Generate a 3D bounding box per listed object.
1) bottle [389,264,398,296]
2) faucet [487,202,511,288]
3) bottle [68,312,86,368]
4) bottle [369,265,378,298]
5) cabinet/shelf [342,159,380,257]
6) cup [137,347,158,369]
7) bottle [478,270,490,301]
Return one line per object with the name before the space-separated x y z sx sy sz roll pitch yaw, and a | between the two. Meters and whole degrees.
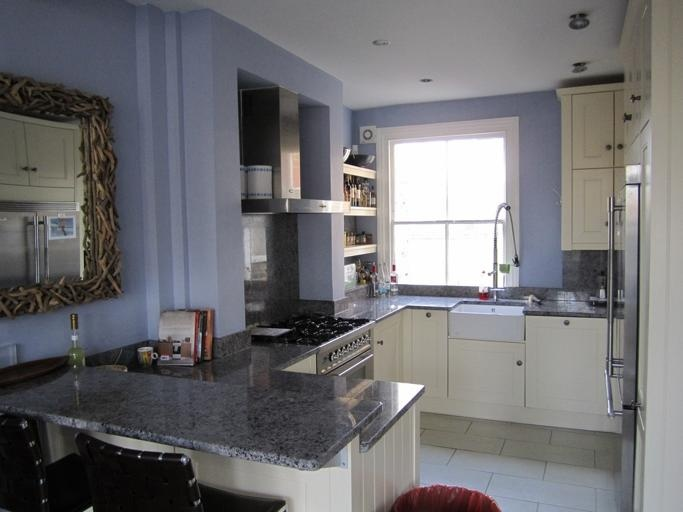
bottle | 0.571 0.250 5.638 0.087 0.304 0.246 2 6 6
faucet | 1.621 -0.063 5.166 0.281 0.929 0.373 3 6 18
bottle | -1.395 0.438 2.741 0.071 0.298 0.253 -2 6 -27
bottle | 0.347 0.260 5.615 0.117 0.322 0.242 2 6 3
cabinet/shelf | 0.206 -0.514 5.391 0.336 0.966 1.040 0 0 22
cup | -1.148 0.592 3.061 0.127 0.098 0.083 2 4 4
bottle | 1.464 0.293 5.299 0.100 0.267 0.259 3 6 15
